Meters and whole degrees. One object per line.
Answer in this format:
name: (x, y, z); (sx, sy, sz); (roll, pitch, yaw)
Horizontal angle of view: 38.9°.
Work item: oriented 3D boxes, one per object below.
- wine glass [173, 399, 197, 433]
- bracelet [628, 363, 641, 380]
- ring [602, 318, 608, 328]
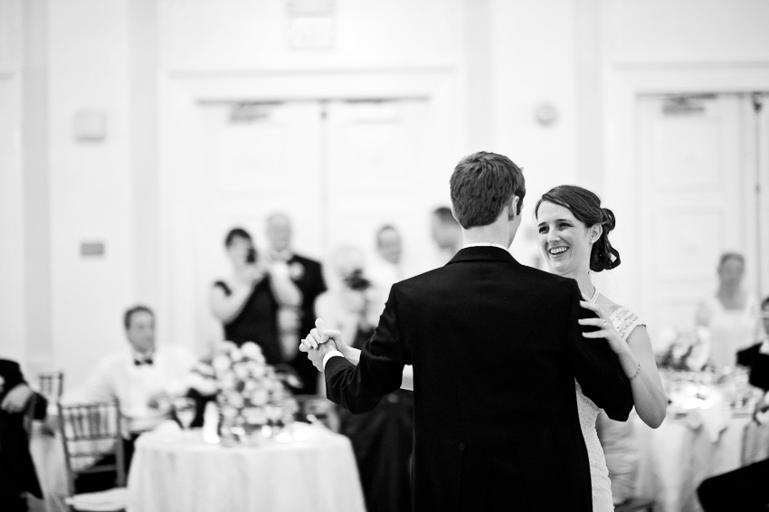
wine glass: (-1.589, 1.265, 8.592); (0.158, 0.246, 0.105); (0, -3, 5)
bracelet: (1.528, 0.707, 6.674); (0.019, 0.084, 0.083); (24, 28, -10)
ring: (1.320, 0.408, 6.567); (0.053, 0.053, 0.018); (-2, -1, -34)
